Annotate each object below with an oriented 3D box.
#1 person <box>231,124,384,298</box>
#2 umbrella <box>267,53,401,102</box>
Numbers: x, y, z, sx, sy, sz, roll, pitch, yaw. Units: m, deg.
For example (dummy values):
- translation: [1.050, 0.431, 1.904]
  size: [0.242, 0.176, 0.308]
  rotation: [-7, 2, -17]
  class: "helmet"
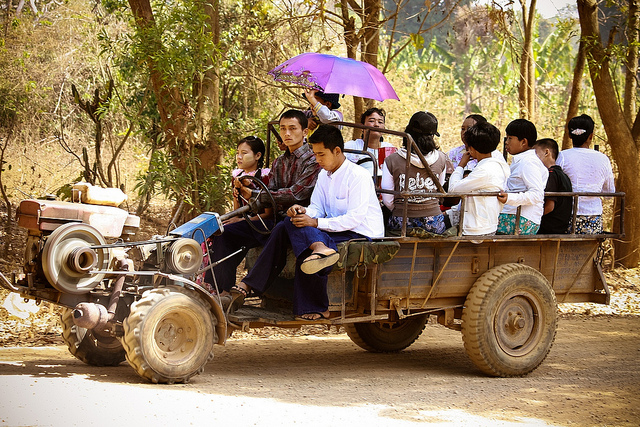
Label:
- translation: [0.017, -0.046, 7.496]
  size: [1.426, 1.979, 0.878]
  rotation: [1, 4, -39]
  class: "person"
- translation: [0.193, -1.824, 8.372]
  size: [1.606, 0.622, 0.651]
  rotation: [3, 2, -2]
  class: "umbrella"
